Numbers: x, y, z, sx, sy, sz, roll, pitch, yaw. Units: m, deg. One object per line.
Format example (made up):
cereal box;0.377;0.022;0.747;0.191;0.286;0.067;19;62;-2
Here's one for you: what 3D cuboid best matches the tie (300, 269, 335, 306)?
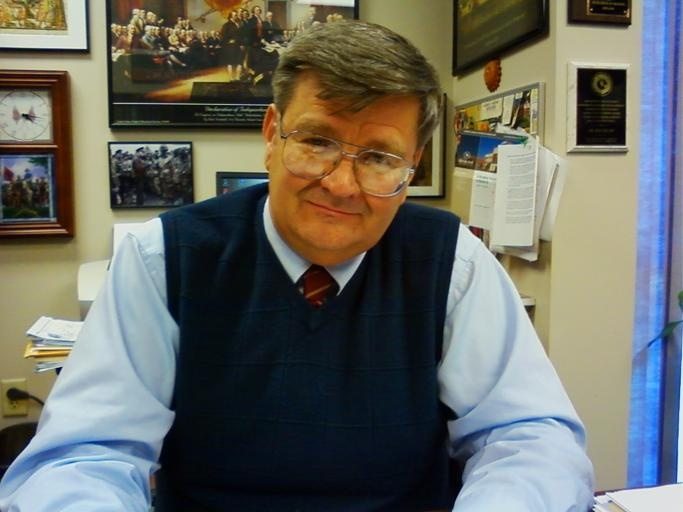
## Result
tie;-0.061;0.081;1.710;0.076;0.103;0.030;12;-11;-1
